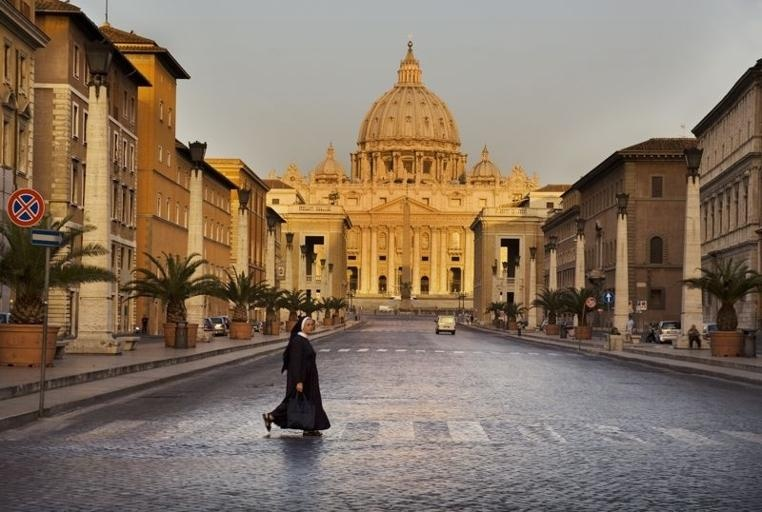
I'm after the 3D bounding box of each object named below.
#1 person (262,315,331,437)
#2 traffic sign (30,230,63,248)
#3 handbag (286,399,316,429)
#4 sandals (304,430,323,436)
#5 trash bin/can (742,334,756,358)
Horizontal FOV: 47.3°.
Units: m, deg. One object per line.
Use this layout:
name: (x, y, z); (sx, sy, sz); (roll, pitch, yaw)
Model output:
person: (-1.470, 2.095, 15.280); (1.189, 2.003, 0.821); (0, -5, -2)
traffic sign: (-6.950, -0.345, 17.970); (0.497, 0.422, 1.007); (4, -9, -22)
handbag: (-1.374, 2.741, 15.042); (0.518, 0.606, 0.195); (0, -4, -1)
sandals: (-1.201, 3.152, 15.410); (0.273, 0.095, 0.144); (-5, -4, 18)
trash bin/can: (15.468, 3.776, 36.419); (0.492, 0.995, 0.873); (-2, -9, 20)
